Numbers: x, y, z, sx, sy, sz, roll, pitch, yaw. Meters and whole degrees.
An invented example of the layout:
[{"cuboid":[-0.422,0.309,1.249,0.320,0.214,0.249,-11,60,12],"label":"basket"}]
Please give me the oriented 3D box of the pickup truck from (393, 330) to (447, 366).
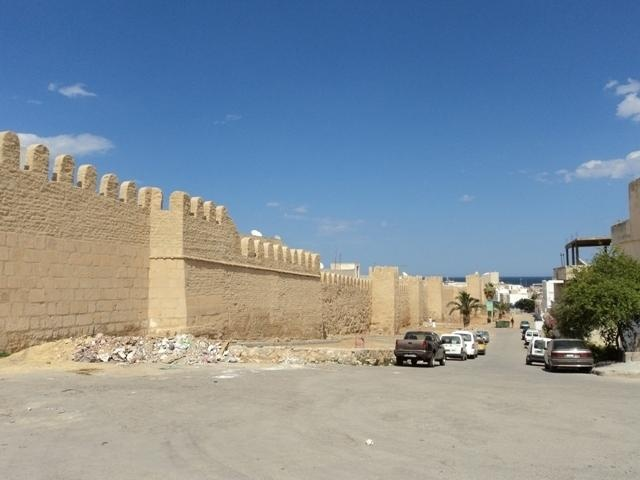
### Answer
[{"cuboid":[4.074,4.369,21.153,1.158,0.816,2.295,-2,-3,25],"label":"pickup truck"}]
